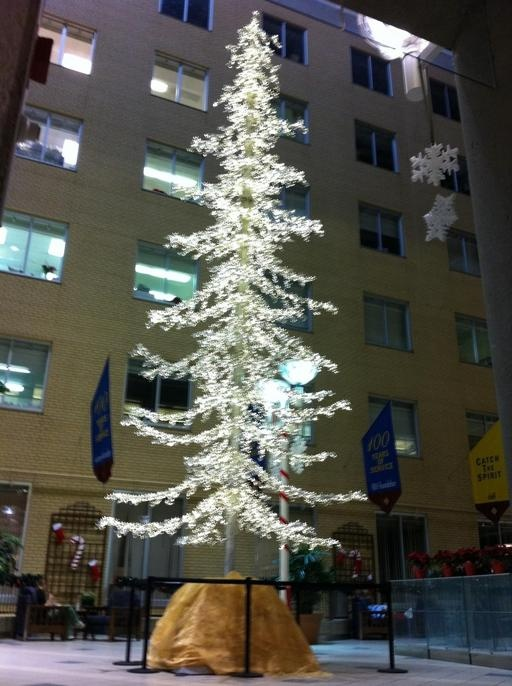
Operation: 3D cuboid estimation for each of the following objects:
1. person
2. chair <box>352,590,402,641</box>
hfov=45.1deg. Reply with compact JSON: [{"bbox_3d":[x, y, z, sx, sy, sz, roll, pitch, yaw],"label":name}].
[{"bbox_3d":[-3.566,4.575,10.418,0.718,0.773,0.611,11,-29,-20],"label":"person"},{"bbox_3d":[2.639,6.336,14.397,0.829,1.014,2.173,-2,-20,8],"label":"chair"}]
